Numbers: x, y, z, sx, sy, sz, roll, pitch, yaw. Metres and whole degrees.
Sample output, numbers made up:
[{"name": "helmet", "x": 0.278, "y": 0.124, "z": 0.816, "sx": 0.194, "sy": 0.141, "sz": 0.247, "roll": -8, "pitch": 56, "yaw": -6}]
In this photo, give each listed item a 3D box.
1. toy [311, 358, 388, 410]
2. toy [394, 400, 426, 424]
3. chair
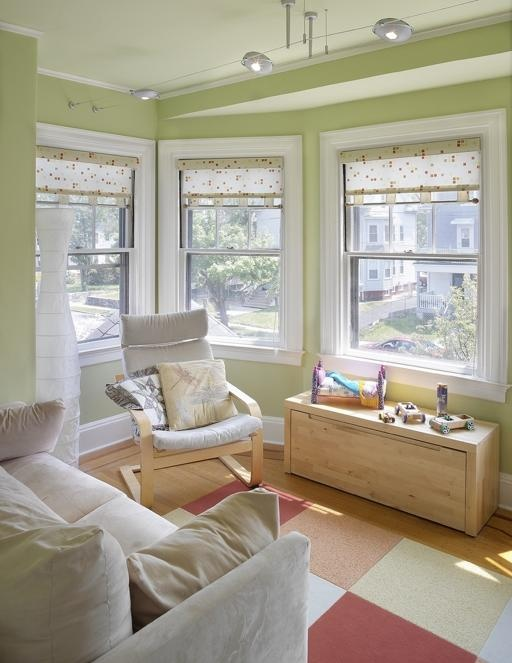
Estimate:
[{"name": "toy", "x": 0.562, "y": 0.298, "z": 3.140, "sx": 0.389, "sy": 0.231, "sz": 0.264, "roll": 2, "pitch": 8, "yaw": 14}, {"name": "toy", "x": 0.850, "y": 0.439, "z": 2.850, "sx": 0.081, "sy": 0.059, "sz": 0.141, "roll": -1, "pitch": 10, "yaw": -7}, {"name": "chair", "x": -0.420, "y": 0.425, "z": 3.106, "sx": 0.774, "sy": 1.029, "sz": 0.886, "roll": -4, "pitch": 10, "yaw": -23}]
